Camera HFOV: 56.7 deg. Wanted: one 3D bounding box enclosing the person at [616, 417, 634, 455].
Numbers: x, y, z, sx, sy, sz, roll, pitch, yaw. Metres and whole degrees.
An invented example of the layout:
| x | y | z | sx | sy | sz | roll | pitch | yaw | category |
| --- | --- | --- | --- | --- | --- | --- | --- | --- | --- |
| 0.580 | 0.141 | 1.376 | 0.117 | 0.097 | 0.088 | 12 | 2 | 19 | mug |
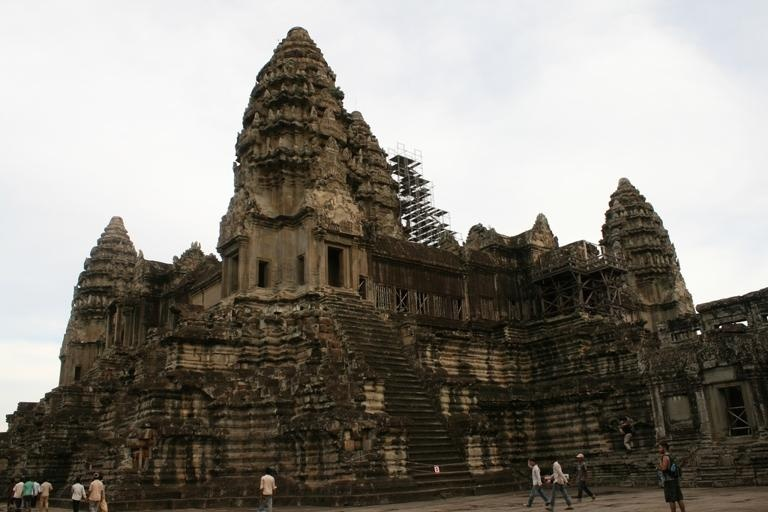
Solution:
| x | y | z | sx | sy | sz | roll | pitch | yaw | category |
| --- | --- | --- | --- | --- | --- | --- | --- | --- | --- |
| 10.935 | 8.041 | 31.966 | 0.635 | 1.446 | 1.219 | 0 | 12 | 5 | person |
